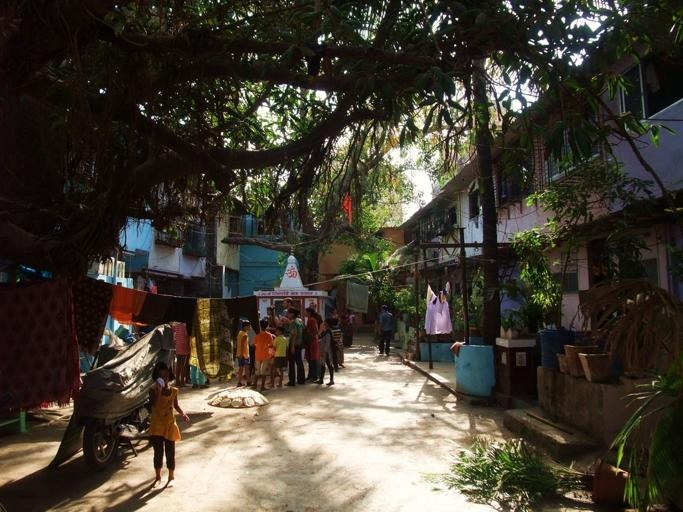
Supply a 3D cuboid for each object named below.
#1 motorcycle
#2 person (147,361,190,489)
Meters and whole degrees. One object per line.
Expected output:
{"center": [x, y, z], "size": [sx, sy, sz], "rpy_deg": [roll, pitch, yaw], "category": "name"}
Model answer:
{"center": [-3.369, 2.061, 8.179], "size": [1.089, 2.001, 3.183], "rpy_deg": [8, 0, -2], "category": "motorcycle"}
{"center": [-2.361, 2.221, 6.716], "size": [0.347, 1.474, 0.820], "rpy_deg": [0, -3, -22], "category": "person"}
